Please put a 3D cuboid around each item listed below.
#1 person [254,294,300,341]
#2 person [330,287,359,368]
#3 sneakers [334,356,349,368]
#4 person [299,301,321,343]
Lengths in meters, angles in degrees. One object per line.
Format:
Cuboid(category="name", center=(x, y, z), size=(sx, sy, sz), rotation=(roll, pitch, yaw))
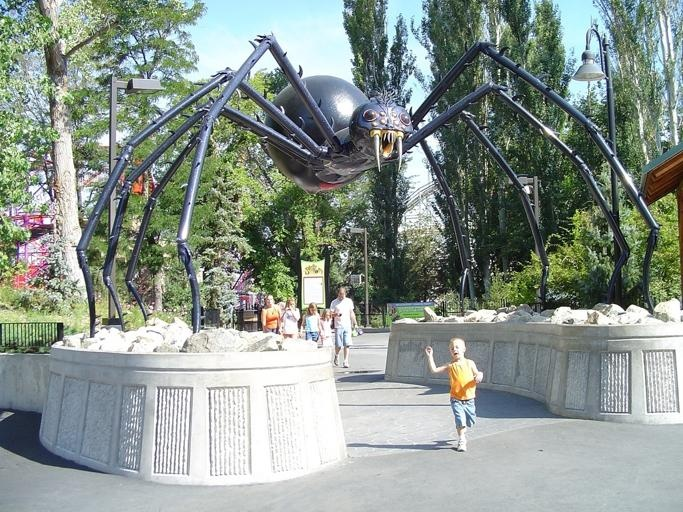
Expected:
Cuboid(category="person", center=(-1.555, 1.520, 14.097), size=(0.969, 1.201, 1.768), rotation=(-1, 3, -9))
Cuboid(category="person", center=(0.043, 1.933, 14.775), size=(0.643, 2.135, 0.848), rotation=(-1, 2, -6))
Cuboid(category="sneakers", center=(0.023, 3.119, 15.924), size=(0.181, 0.245, 0.526), rotation=(6, -9, -39))
Cuboid(category="person", center=(-0.802, 1.966, 14.553), size=(0.509, 1.406, 0.381), rotation=(2, -28, -4))
